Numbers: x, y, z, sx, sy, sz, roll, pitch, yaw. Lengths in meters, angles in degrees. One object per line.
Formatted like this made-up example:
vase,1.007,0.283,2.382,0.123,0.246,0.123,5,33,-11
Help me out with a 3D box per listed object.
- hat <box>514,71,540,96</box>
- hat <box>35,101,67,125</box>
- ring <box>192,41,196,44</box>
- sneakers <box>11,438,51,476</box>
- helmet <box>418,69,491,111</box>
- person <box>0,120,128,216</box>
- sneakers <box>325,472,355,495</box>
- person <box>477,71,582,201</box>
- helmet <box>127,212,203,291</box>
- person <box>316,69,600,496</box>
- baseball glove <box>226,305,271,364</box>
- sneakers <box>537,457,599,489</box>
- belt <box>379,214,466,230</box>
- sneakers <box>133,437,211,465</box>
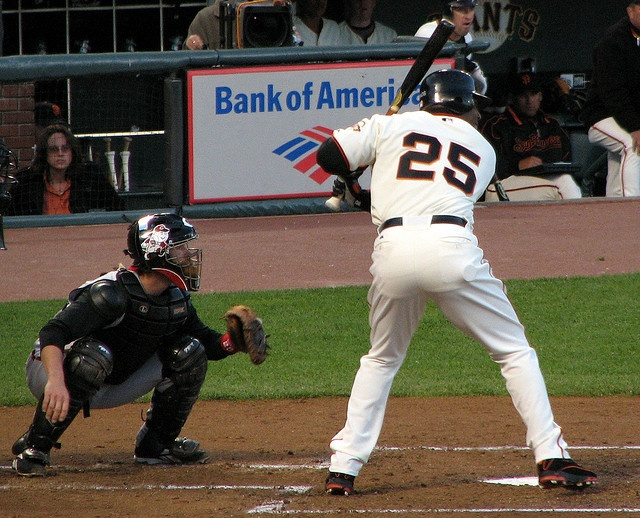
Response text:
hat,1.960,-1.645,12.919,0.276,0.178,0.359,0,6,7
hat,-2.427,-1.284,12.218,0.303,0.173,0.158,13,-13,4
ring,-1.162,-1.989,12.608,0.034,0.029,0.008,1,-5,-3
sneakers,-1.795,1.200,8.473,0.222,0.220,0.187,-1,9,-11
helmet,0.852,-1.065,8.570,0.500,0.251,0.335,1,9,-16
person,-2.324,-0.811,12.161,0.964,1.302,0.474,-3,42,-11
sneakers,0.120,1.327,8.200,0.100,0.101,0.187,6,0,3
person,2.116,-0.986,12.935,0.865,1.482,0.905,-10,8,-36
helmet,-0.990,-0.052,8.669,0.531,0.478,0.432,1,6,8
person,0.700,0.125,8.248,1.434,2.477,0.920,0,9,-1
baseball glove,-0.459,0.461,8.738,0.274,0.363,0.153,-4,25,34
sneakers,1.441,1.234,8.005,0.402,0.183,0.138,1,-13,-12
belt,0.624,-0.217,8.191,0.527,0.110,0.113,1,9,4
sneakers,-0.950,1.204,8.838,0.435,0.180,0.178,-2,1,-2
